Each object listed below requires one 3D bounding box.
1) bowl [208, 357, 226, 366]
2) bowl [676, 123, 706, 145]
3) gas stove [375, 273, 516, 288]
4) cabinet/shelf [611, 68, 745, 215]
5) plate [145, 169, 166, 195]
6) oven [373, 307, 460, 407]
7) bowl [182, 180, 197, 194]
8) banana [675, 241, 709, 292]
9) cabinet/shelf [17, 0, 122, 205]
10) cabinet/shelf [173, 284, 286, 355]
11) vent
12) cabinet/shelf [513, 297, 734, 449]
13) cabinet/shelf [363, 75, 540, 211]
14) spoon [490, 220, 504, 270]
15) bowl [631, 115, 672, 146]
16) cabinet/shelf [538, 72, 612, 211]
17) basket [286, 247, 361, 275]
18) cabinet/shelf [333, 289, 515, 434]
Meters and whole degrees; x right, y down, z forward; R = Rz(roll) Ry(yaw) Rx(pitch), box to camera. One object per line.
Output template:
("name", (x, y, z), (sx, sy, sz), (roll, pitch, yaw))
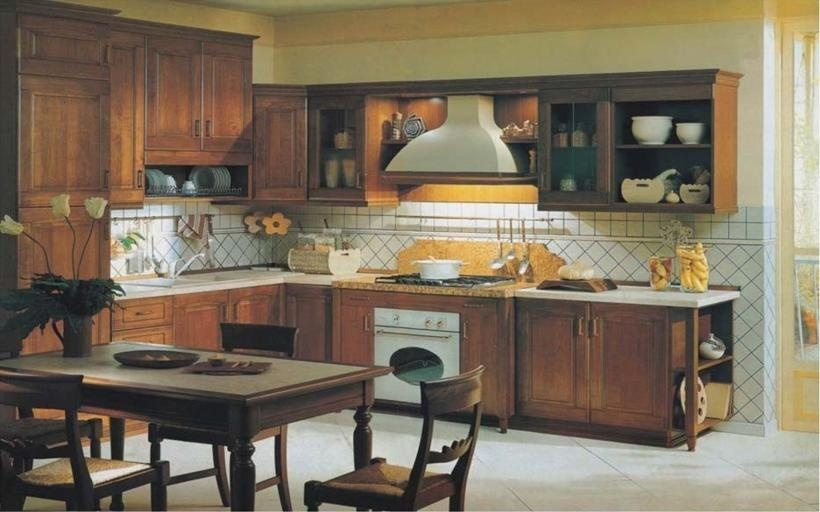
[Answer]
("bowl", (-1.086, 0.586, 3.983), (0.069, 0.035, 0.063), (-3, -1, 0))
("bowl", (2.298, -1.008, 5.932), (0.171, 0.182, 0.182), (0, 8, 0))
("gas stove", (0.268, 0.232, 6.436), (1.220, 0.044, 0.496), (2, 8, 12))
("cabinet/shelf", (2.217, -0.938, 5.994), (1.064, 1.148, 0.498), (2, 9, 13))
("plate", (-2.342, -0.670, 6.545), (0.168, 0.231, 0.177), (-2, 9, -17))
("oven", (0.066, 0.892, 6.581), (0.939, 0.743, 0.655), (0, -2, 16))
("bowl", (-2.101, -0.641, 6.750), (0.154, 0.105, 0.133), (0, 0, -7))
("banana", (2.331, 0.097, 5.946), (0.234, 0.391, 0.169), (6, 11, 33))
("cabinet/shelf", (-2.685, -1.144, 5.513), (0.195, 1.524, 0.772), (8, 12, 39))
("cabinet/shelf", (-1.557, 0.521, 5.904), (0.842, 0.615, 0.314), (-2, -1, -44))
("vent", (0.402, -1.021, 6.532), (1.106, 0.504, 1.006), (1, 3, 24))
("cabinet/shelf", (1.746, 0.945, 6.378), (2.540, 1.413, 1.256), (0, -2, 27))
("cabinet/shelf", (0.410, -1.059, 6.683), (1.759, 0.918, 0.626), (0, -1, 24))
("spoon", (0.818, -0.097, 6.777), (0.126, 0.485, 0.189), (2, 9, 9))
("bowl", (2.022, -1.041, 6.103), (0.319, 0.181, 0.311), (0, 4, 0))
("cabinet/shelf", (1.400, -0.908, 6.144), (0.625, 1.038, 0.199), (2, 9, 12))
("basket", (-0.920, 0.053, 7.202), (0.495, 0.164, 0.359), (1, 2, 35))
("cabinet/shelf", (0.170, 0.843, 5.709), (1.585, 0.898, 0.508), (0, -2, 22))
